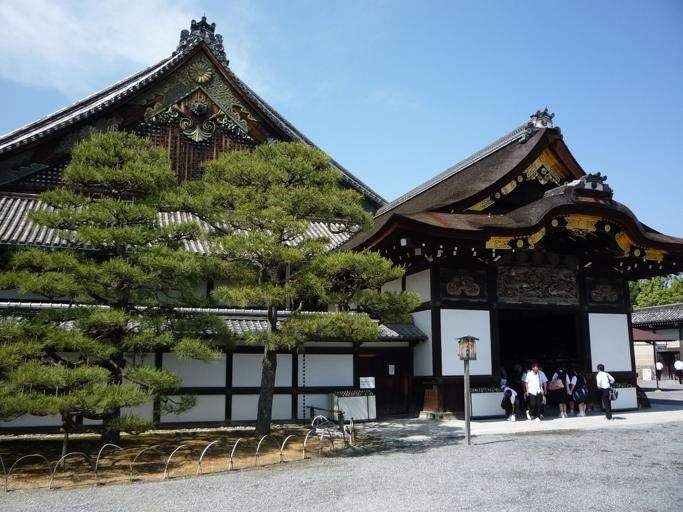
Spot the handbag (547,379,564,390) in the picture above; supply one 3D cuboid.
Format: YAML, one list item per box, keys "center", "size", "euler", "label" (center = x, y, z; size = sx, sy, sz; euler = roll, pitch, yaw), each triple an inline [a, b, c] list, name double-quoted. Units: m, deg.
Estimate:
- center: [7.188, 4.321, 20.792]
  size: [0.383, 0.340, 0.492]
  euler: [2, -5, -32]
  label: "handbag"

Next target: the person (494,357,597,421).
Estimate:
- center: [7.082, 4.594, 21.315]
  size: [2.348, 1.449, 0.606]
  euler: [6, -21, -16]
  label: "person"
